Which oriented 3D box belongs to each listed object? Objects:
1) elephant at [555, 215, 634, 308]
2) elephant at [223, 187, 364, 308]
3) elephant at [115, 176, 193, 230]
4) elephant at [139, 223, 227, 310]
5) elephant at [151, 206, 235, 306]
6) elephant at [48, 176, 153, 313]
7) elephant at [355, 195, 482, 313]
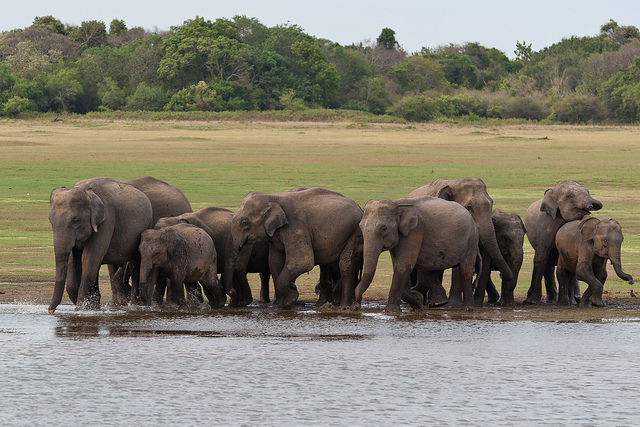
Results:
[{"bbox_3d":[5.401,0.962,26.008,0.882,1.887,1.541,-12,20,-40],"label":"elephant"},{"bbox_3d":[-0.480,0.678,25.853,3.291,2.213,1.272,-1,1,-20],"label":"elephant"},{"bbox_3d":[-3.593,-0.446,26.184,1.781,0.862,0.773,3,0,-33],"label":"elephant"},{"bbox_3d":[-2.870,1.047,25.329,0.982,1.660,2.104,-7,-5,41],"label":"elephant"},{"bbox_3d":[-2.870,1.033,25.573,1.143,1.432,2.054,-14,-12,39],"label":"elephant"},{"bbox_3d":[-4.416,0.597,25.520,1.520,2.553,3.026,-2,-2,21],"label":"elephant"},{"bbox_3d":[1.874,0.805,25.694,3.104,2.241,1.419,0,-1,-33],"label":"elephant"}]
